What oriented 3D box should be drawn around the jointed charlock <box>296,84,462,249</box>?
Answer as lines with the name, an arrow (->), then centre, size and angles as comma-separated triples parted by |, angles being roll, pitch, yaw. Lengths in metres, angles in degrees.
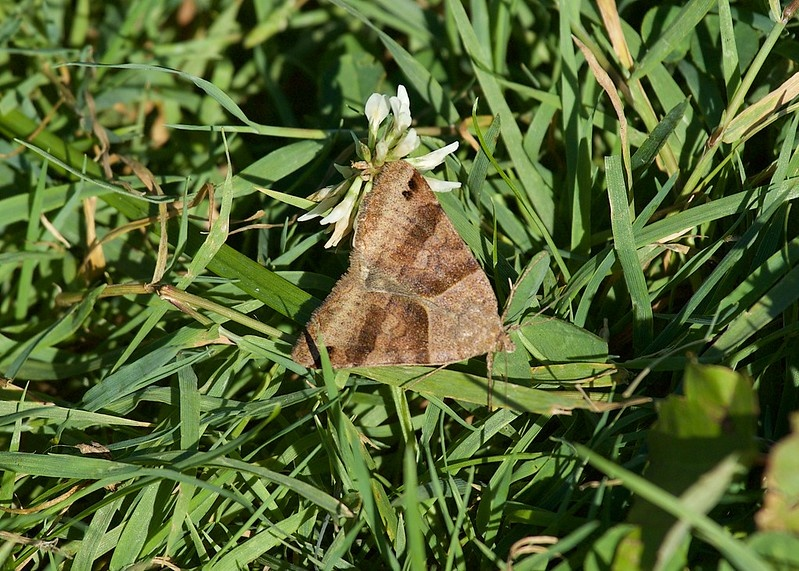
jointed charlock -> -0.068, -0.362, 2.359 | 0.459, 0.217, 0.486 | 6, 98, 6
